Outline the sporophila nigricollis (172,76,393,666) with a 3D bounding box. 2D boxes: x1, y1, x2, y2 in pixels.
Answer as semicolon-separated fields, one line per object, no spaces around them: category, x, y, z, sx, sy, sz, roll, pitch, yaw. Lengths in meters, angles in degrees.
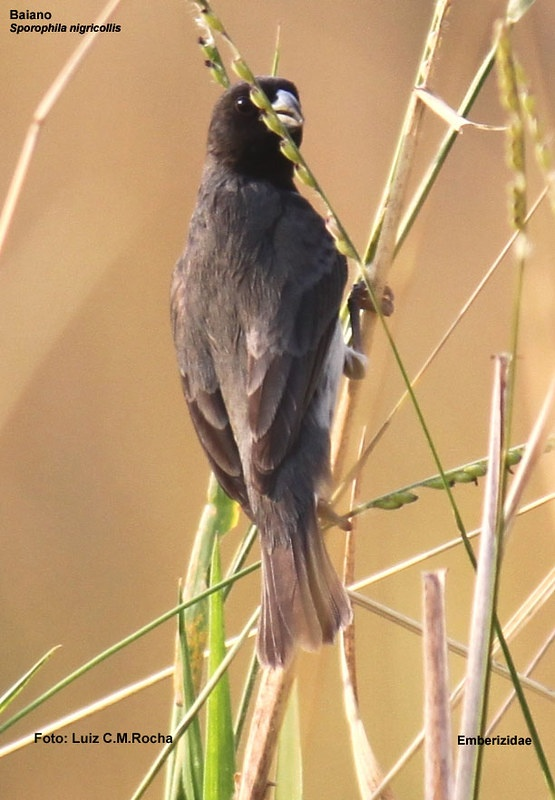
sporophila nigricollis;-0.075;-0.108;2.824;0.714;1.644;0.478;23;-33;-38
